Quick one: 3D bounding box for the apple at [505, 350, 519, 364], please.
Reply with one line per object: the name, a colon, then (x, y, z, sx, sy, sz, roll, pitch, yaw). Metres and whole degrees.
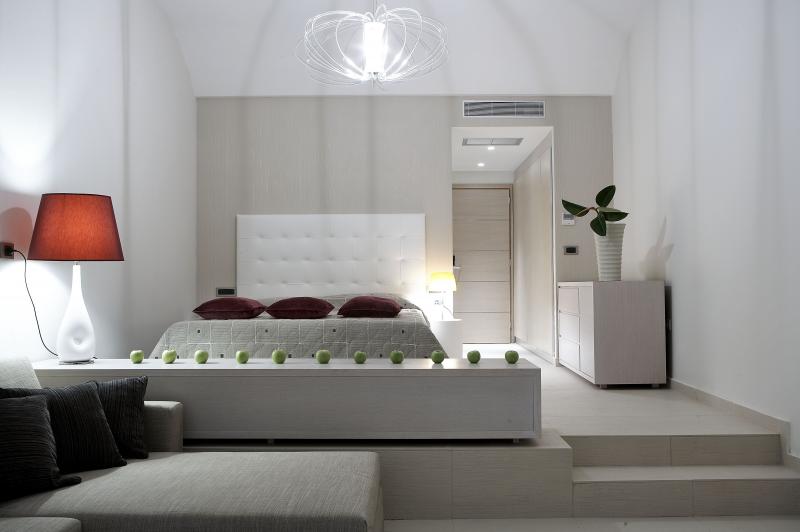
apple: (0.755, 0.605, 4.091, 0.091, 0.075, 0.083, 12, -20, -33)

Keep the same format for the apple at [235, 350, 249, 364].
apple: (-1.074, 0.620, 4.165, 0.092, 0.077, 0.090, 4, -12, -18)

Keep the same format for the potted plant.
potted plant: (1.793, -0.300, 5.706, 0.455, 0.841, 0.728, -1, 2, 5)

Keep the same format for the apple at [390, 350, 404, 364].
apple: (-0.022, 0.609, 4.127, 0.078, 0.076, 0.075, 8, 5, 0)

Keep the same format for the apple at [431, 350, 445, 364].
apple: (0.259, 0.612, 4.117, 0.083, 0.079, 0.116, -1, 2, -1)

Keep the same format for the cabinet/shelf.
cabinet/shelf: (1.980, 0.627, 5.788, 0.750, 1.026, 1.476, 0, -5, 7)

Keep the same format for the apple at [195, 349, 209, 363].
apple: (-1.360, 0.620, 4.189, 0.087, 0.081, 0.087, 3, -7, 2)

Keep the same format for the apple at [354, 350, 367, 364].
apple: (-0.267, 0.621, 4.136, 0.074, 0.074, 0.073, -2, -5, 5)

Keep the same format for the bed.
bed: (-0.707, 0.076, 5.576, 1.940, 1.195, 1.608, -1, -5, 3)

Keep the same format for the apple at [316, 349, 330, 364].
apple: (-0.515, 0.620, 4.143, 0.082, 0.077, 0.083, -5, -7, 17)

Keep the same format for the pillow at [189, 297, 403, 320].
pillow: (-0.875, 0.364, 5.273, 1.729, 0.192, 0.417, -1, 2, -8)

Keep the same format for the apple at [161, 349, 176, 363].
apple: (-1.574, 0.613, 4.158, 0.090, 0.089, 0.088, 1, -5, 0)

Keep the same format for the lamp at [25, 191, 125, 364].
lamp: (-2.335, 0.076, 4.367, 0.554, 1.167, 0.502, 1, 3, 35)

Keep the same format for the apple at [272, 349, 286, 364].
apple: (-0.811, 0.613, 4.137, 0.082, 0.080, 0.084, -4, -8, 19)

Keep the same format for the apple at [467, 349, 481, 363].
apple: (0.476, 0.603, 4.066, 0.086, 0.086, 0.086, -6, -7, 40)
